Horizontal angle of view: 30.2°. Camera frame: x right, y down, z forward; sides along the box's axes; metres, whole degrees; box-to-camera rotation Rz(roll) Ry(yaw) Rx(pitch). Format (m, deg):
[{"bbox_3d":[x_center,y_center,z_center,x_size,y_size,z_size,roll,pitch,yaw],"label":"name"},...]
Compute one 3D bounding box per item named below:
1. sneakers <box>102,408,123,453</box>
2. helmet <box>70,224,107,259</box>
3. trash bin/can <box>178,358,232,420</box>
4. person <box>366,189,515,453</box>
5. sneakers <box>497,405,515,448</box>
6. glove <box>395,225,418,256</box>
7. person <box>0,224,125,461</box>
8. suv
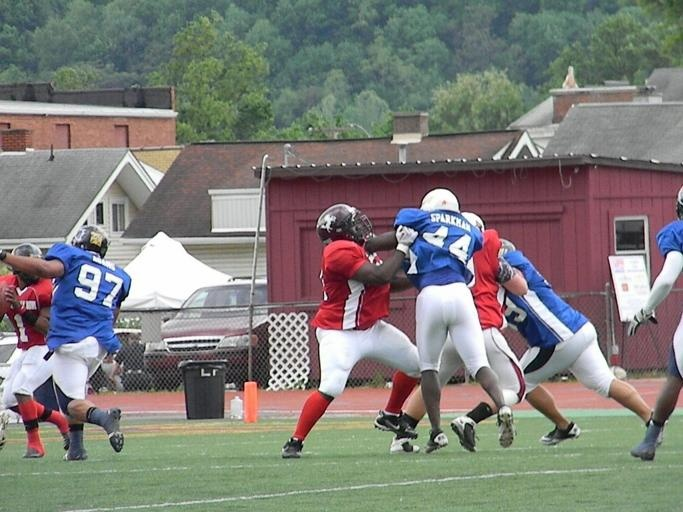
[{"bbox_3d":[-2.377,1.886,13.011,0.197,0.308,0.634,10,-6,-13],"label":"sneakers"},{"bbox_3d":[-2.761,-0.145,13.791,0.390,0.436,0.345,8,-14,4],"label":"helmet"},{"bbox_3d":[-2.128,2.079,19.674,0.785,0.929,0.892,-3,-8,6],"label":"trash bin/can"},{"bbox_3d":[1.051,0.664,12.866,1.006,2.706,0.517,-1,-3,7],"label":"person"},{"bbox_3d":[1.603,1.716,12.361,0.144,0.452,0.195,-4,8,5],"label":"sneakers"},{"bbox_3d":[0.652,-0.156,12.890,0.206,0.290,0.128,6,4,9],"label":"glove"},{"bbox_3d":[-2.831,0.923,13.399,1.259,2.555,1.108,1,-3,-22],"label":"person"},{"bbox_3d":[-2.467,1.489,23.521,2.416,2.053,2.450,1,-3,-20],"label":"suv"}]
